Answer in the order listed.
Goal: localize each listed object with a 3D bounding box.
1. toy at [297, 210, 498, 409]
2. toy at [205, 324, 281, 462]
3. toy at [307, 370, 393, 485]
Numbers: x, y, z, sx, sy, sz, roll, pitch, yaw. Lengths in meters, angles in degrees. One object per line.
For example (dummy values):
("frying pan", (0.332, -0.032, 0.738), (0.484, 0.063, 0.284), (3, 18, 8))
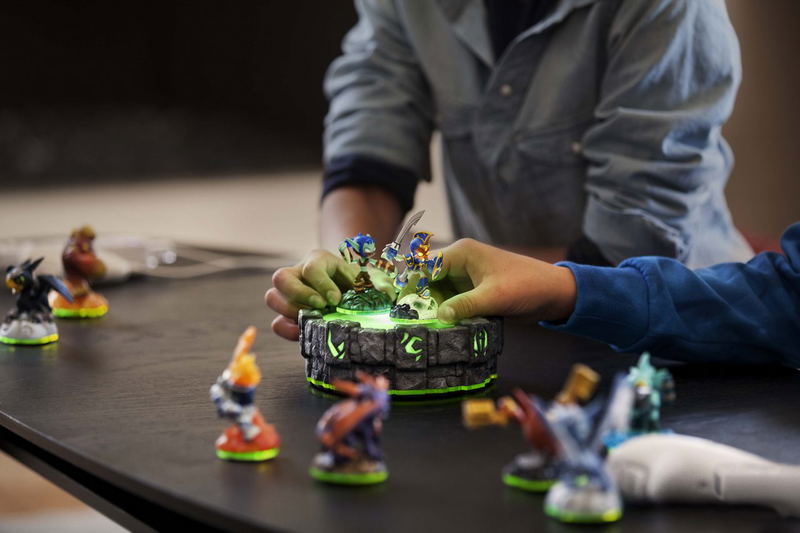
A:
("toy", (-0.003, 0.067, 1.818), (0.421, 0.372, 0.432), (-2, 7, -26))
("toy", (-0.285, 0.229, 1.443), (0.115, 0.205, 0.167), (-5, 19, -12))
("toy", (-0.083, 0.288, 1.385), (0.126, 0.181, 0.144), (-9, 16, -38))
